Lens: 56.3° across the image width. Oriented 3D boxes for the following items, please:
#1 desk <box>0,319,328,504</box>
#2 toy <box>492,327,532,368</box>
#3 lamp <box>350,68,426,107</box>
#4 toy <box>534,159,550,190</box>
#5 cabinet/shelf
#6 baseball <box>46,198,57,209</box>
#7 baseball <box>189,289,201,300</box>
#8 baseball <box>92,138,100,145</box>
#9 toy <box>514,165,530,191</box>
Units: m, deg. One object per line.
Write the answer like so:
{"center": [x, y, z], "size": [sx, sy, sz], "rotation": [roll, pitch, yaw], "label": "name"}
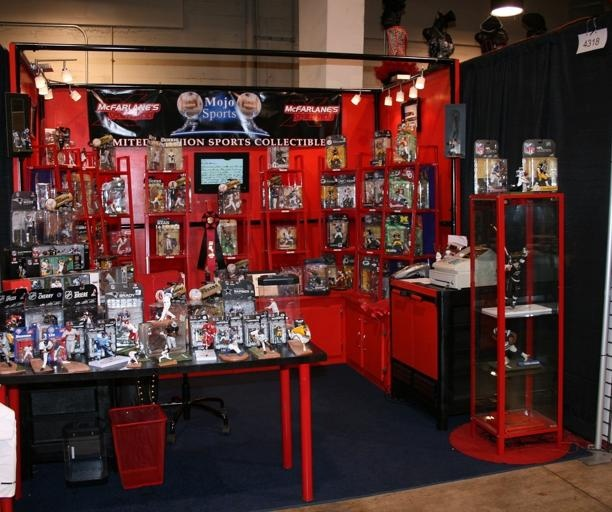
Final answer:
{"center": [-0.990, 0.912, 5.171], "size": [2.313, 1.321, 3.305], "rotation": [-1, 8, 1], "label": "desk"}
{"center": [1.659, 0.727, 4.546], "size": [0.318, 0.338, 0.213], "rotation": [0, 9, 0], "label": "toy"}
{"center": [1.052, -2.048, 6.960], "size": [0.647, 0.378, 1.512], "rotation": [-5, 9, -23], "label": "lamp"}
{"center": [1.904, -0.648, 4.570], "size": [0.124, 0.218, 0.052], "rotation": [-4, 8, -19], "label": "toy"}
{"center": [-0.530, 0.544, 6.548], "size": [3.209, 2.278, 3.353], "rotation": [0, 3, -16], "label": "cabinet/shelf"}
{"center": [-2.230, -0.449, 4.980], "size": [0.088, 0.097, 0.135], "rotation": [-5, 8, -24], "label": "baseball"}
{"center": [-0.840, 0.291, 4.324], "size": [0.090, 0.096, 0.157], "rotation": [-3, 8, -11], "label": "baseball"}
{"center": [-2.379, -1.285, 6.452], "size": [0.093, 0.085, 0.167], "rotation": [-4, 8, -21], "label": "baseball"}
{"center": [1.760, -0.620, 4.583], "size": [0.099, 0.202, 0.171], "rotation": [2, 8, 25], "label": "toy"}
